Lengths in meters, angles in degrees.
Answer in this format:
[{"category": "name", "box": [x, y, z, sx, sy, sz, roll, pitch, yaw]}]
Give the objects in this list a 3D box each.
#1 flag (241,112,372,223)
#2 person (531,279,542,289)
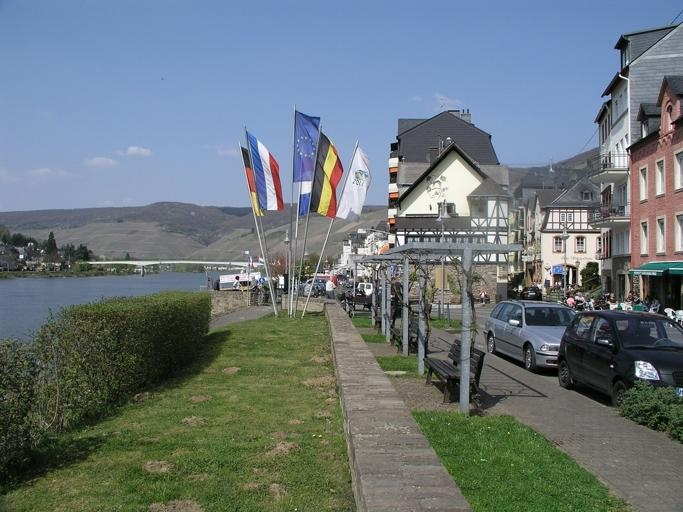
[{"category": "flag", "box": [-1.406, -3.877, 25.091, 4.935, 3.806, 1.131, -1, 0, -5]}, {"category": "person", "box": [23.273, 3.218, 71.096, 0.532, 1.071, 1.036, 2, -3, -5]}]
